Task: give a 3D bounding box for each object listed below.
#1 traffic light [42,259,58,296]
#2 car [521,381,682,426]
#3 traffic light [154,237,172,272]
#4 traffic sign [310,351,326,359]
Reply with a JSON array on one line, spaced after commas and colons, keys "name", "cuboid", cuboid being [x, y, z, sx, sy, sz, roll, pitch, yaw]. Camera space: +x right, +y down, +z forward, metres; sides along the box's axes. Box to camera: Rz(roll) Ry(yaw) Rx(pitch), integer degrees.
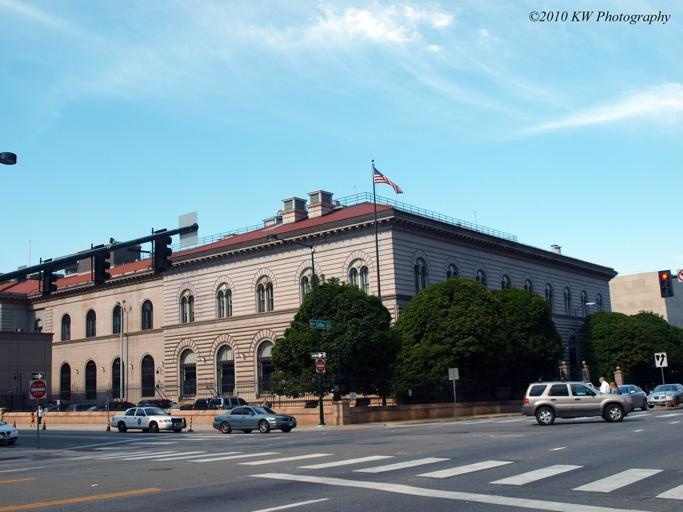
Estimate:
[{"name": "traffic light", "cuboid": [-9.659, 0.689, 26.256, 0.424, 1.054, 0.946, 3, -13, -20]}, {"name": "car", "cuboid": [10.853, 6.808, 36.767, 4.652, 1.788, 2.094, -3, -9, 5]}, {"name": "traffic light", "cuboid": [-5.987, -0.045, 26.627, 0.589, 1.235, 1.560, 1, -13, -13]}, {"name": "traffic sign", "cuboid": [-1.411, 5.975, 48.028, 0.805, 0.385, 1.156, -2, -12, 2]}]
